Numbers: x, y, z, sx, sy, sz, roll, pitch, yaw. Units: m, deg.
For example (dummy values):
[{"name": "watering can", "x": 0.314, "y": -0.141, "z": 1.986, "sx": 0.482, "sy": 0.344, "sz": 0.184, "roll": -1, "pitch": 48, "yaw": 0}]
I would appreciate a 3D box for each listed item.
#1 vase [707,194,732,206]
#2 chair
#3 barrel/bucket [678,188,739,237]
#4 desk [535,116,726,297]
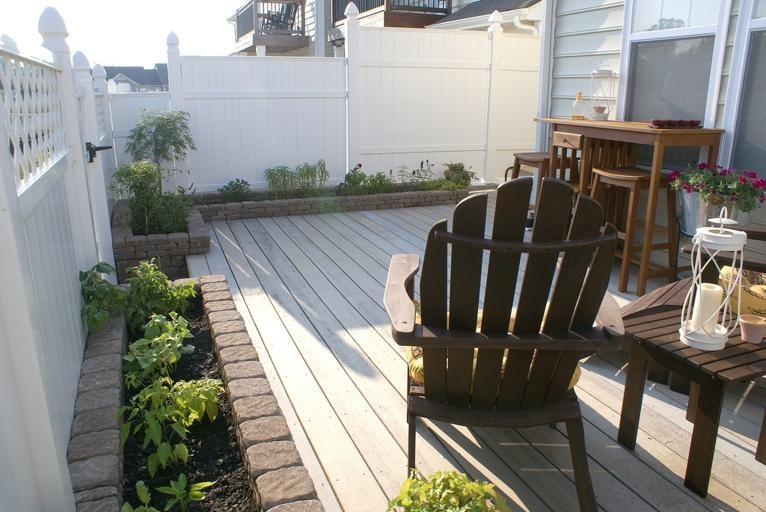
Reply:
[{"name": "vase", "x": 2.711, "y": -0.457, "z": 4.093, "sx": 0.124, "sy": 0.058, "sz": 0.100, "roll": -1, "pitch": 8, "yaw": 14}, {"name": "chair", "x": 0.586, "y": 0.169, "z": 3.090, "sx": 1.142, "sy": 1.655, "sz": 1.603, "roll": 0, "pitch": 14, "yaw": 0}, {"name": "barrel/bucket", "x": 2.678, "y": -0.366, "z": 4.293, "sx": 0.460, "sy": 0.360, "sz": 0.438, "roll": 1, "pitch": 11, "yaw": 0}, {"name": "desk", "x": 2.027, "y": -0.411, "z": 3.967, "sx": 0.580, "sy": 1.286, "sz": 1.419, "roll": -5, "pitch": 21, "yaw": -10}]
